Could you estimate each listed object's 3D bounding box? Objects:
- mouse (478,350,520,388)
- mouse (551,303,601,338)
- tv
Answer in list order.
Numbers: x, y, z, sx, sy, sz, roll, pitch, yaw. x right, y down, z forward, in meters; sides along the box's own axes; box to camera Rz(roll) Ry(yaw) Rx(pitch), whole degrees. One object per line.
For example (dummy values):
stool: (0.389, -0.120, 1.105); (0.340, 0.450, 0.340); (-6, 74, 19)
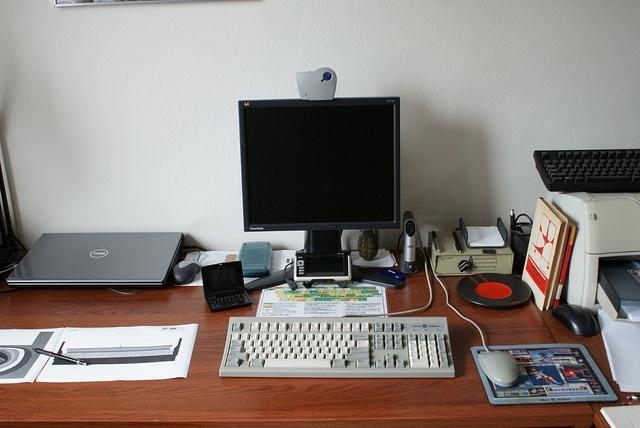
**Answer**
mouse: (0.578, 0.477, 1.532); (0.112, 0.046, 0.159); (-6, 29, -3)
mouse: (0.896, 0.365, 1.636); (0.073, 0.045, 0.130); (-5, 26, -11)
tv: (0.012, -0.094, 1.861); (0.703, 0.783, 0.381); (-1, 21, 1)
